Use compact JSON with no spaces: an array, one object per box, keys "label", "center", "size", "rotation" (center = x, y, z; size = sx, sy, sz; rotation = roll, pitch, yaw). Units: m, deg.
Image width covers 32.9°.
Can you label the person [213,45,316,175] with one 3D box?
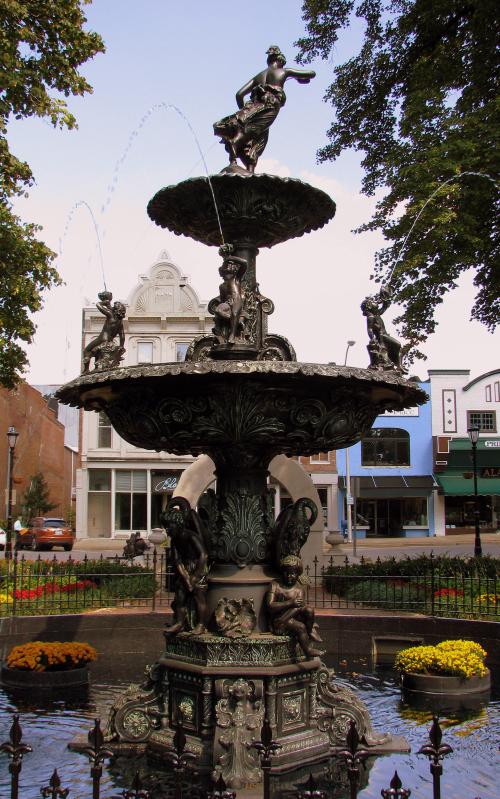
[{"label":"person","center":[0.115,-2.553,7.547],"size":[0.779,1.203,0.410],"rotation":[7,-3,-4]}]

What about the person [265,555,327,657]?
[{"label":"person","center":[0.328,1.588,6.515],"size":[0.406,0.792,0.350],"rotation":[-2,-4,1]}]

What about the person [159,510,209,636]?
[{"label":"person","center":[-0.489,1.293,6.660],"size":[0.338,1.038,0.414],"rotation":[-1,-4,-3]}]

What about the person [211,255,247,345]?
[{"label":"person","center":[-0.155,-0.793,6.763],"size":[0.251,0.684,0.367],"rotation":[-1,-4,-2]}]

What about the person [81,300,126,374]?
[{"label":"person","center":[-1.246,-0.561,7.294],"size":[0.352,0.763,1.176],"rotation":[-1,-4,-9]}]

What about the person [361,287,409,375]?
[{"label":"person","center":[1.118,-0.586,7.164],"size":[0.325,0.759,0.463],"rotation":[-2,-4,7]}]

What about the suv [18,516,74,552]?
[{"label":"suv","center":[-7.814,5.164,32.929],"size":[1.316,0.994,2.862],"rotation":[4,-7,-30]}]
